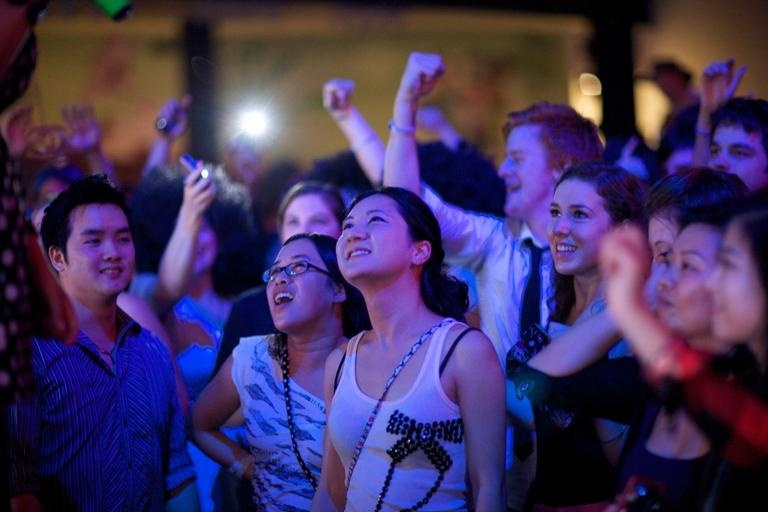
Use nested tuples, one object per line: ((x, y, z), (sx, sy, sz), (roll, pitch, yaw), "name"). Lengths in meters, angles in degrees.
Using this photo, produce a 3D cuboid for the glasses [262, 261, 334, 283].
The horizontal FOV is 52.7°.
((-0.467, 0.084, 4.066), (0.355, 0.112, 0.108), (0, 2, 1), "glasses")
